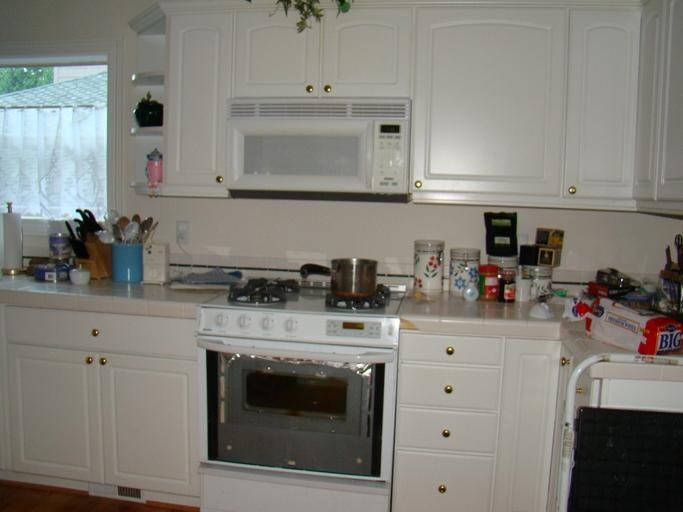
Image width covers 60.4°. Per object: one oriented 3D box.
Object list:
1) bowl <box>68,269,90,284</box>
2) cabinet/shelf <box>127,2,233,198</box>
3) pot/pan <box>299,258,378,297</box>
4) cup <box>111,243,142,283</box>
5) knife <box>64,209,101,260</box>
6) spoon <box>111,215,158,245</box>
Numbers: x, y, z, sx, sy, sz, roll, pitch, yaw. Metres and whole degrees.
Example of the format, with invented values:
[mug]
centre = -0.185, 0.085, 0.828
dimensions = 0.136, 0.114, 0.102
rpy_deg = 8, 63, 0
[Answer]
[bowl]
centre = -1.444, 0.112, 3.249
dimensions = 0.083, 0.075, 0.085
rpy_deg = 3, 0, 0
[cabinet/shelf]
centre = -0.920, -0.861, 3.276
dimensions = 0.327, 1.043, 0.732
rpy_deg = -3, 6, -40
[pot/pan]
centre = 0.001, 0.094, 3.039
dimensions = 0.338, 0.138, 0.193
rpy_deg = 2, 3, 40
[cup]
centre = -1.207, 0.037, 3.327
dimensions = 0.198, 0.232, 0.203
rpy_deg = 0, 4, 0
[knife]
centre = -1.546, -0.137, 3.522
dimensions = 0.167, 0.283, 0.425
rpy_deg = -2, 6, -35
[spoon]
centre = -1.197, -0.135, 3.397
dimensions = 0.133, 0.253, 0.045
rpy_deg = 5, -17, -4
